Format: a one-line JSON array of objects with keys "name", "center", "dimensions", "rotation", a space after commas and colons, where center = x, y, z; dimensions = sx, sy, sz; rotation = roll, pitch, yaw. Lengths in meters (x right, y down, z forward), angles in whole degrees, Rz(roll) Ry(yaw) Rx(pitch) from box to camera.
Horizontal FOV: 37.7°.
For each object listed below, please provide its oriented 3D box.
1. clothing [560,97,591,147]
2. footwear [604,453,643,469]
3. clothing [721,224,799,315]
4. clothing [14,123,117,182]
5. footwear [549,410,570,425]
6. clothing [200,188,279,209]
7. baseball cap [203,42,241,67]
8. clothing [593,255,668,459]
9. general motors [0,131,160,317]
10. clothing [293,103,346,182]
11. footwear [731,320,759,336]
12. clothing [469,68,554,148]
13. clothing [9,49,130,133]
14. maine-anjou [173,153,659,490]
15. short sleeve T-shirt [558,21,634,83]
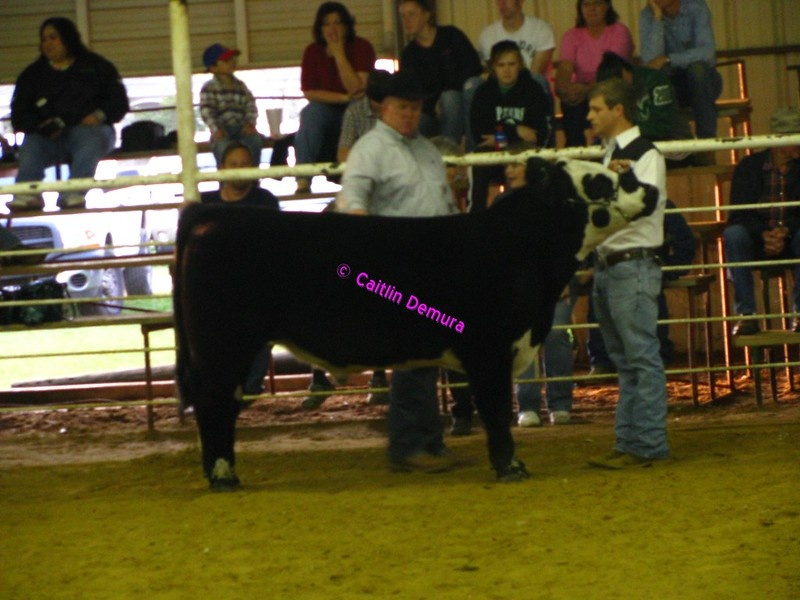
[{"name": "clothing", "center": [1.566, -1.570, 10.539], "dimensions": [0.390, 0.337, 0.097], "rotation": [5, 6, 44]}, {"name": "footwear", "center": [1.378, 0.978, 7.214], "dimensions": [0.242, 0.082, 0.080], "rotation": [-4, 5, 2]}, {"name": "clothing", "center": [2.963, -0.252, 9.528], "dimensions": [0.571, 0.679, 0.590], "rotation": [-3, 13, 6]}, {"name": "clothing", "center": [-2.895, -1.327, 10.130], "dimensions": [0.728, 0.201, 0.690], "rotation": [2, -10, -5]}, {"name": "footwear", "center": [1.160, 0.849, 8.564], "dimensions": [0.127, 0.073, 0.092], "rotation": [2, -6, 21]}, {"name": "clothing", "center": [-1.204, -0.760, 8.781], "dimensions": [0.407, 0.100, 0.190], "rotation": [0, -9, 3]}, {"name": "baseball cap", "center": [-1.639, -2.198, 10.693], "dimensions": [0.376, 0.180, 0.241], "rotation": [-23, 13, 8]}, {"name": "clothing", "center": [1.477, 0.347, 7.442], "dimensions": [0.497, 1.227, 0.599], "rotation": [3, -8, -7]}, {"name": "general motors", "center": [-3.816, -0.650, 13.484], "dimensions": [1.779, 1.434, 3.117], "rotation": [-4, 0, 1]}, {"name": "clothing", "center": [-0.682, -1.358, 10.101], "dimensions": [0.734, 0.591, 0.247], "rotation": [1, -4, 2]}, {"name": "footwear", "center": [2.729, 0.206, 9.335], "dimensions": [0.176, 0.095, 0.158], "rotation": [-1, 2, -13]}, {"name": "clothing", "center": [1.027, -1.554, 9.875], "dimensions": [0.787, 0.607, 0.422], "rotation": [5, 5, 38]}, {"name": "clothing", "center": [-2.839, -1.807, 10.120], "dimensions": [1.069, 0.626, 0.521], "rotation": [-7, 15, 0]}, {"name": "maine-anjou", "center": [0.055, 0.100, 7.207], "dimensions": [3.348, 1.693, 0.795], "rotation": [-4, 7, -22]}, {"name": "short sleeve T-shirt", "center": [1.835, -2.257, 10.854], "dimensions": [0.719, 0.542, 0.389], "rotation": [0, 8, 28]}]
